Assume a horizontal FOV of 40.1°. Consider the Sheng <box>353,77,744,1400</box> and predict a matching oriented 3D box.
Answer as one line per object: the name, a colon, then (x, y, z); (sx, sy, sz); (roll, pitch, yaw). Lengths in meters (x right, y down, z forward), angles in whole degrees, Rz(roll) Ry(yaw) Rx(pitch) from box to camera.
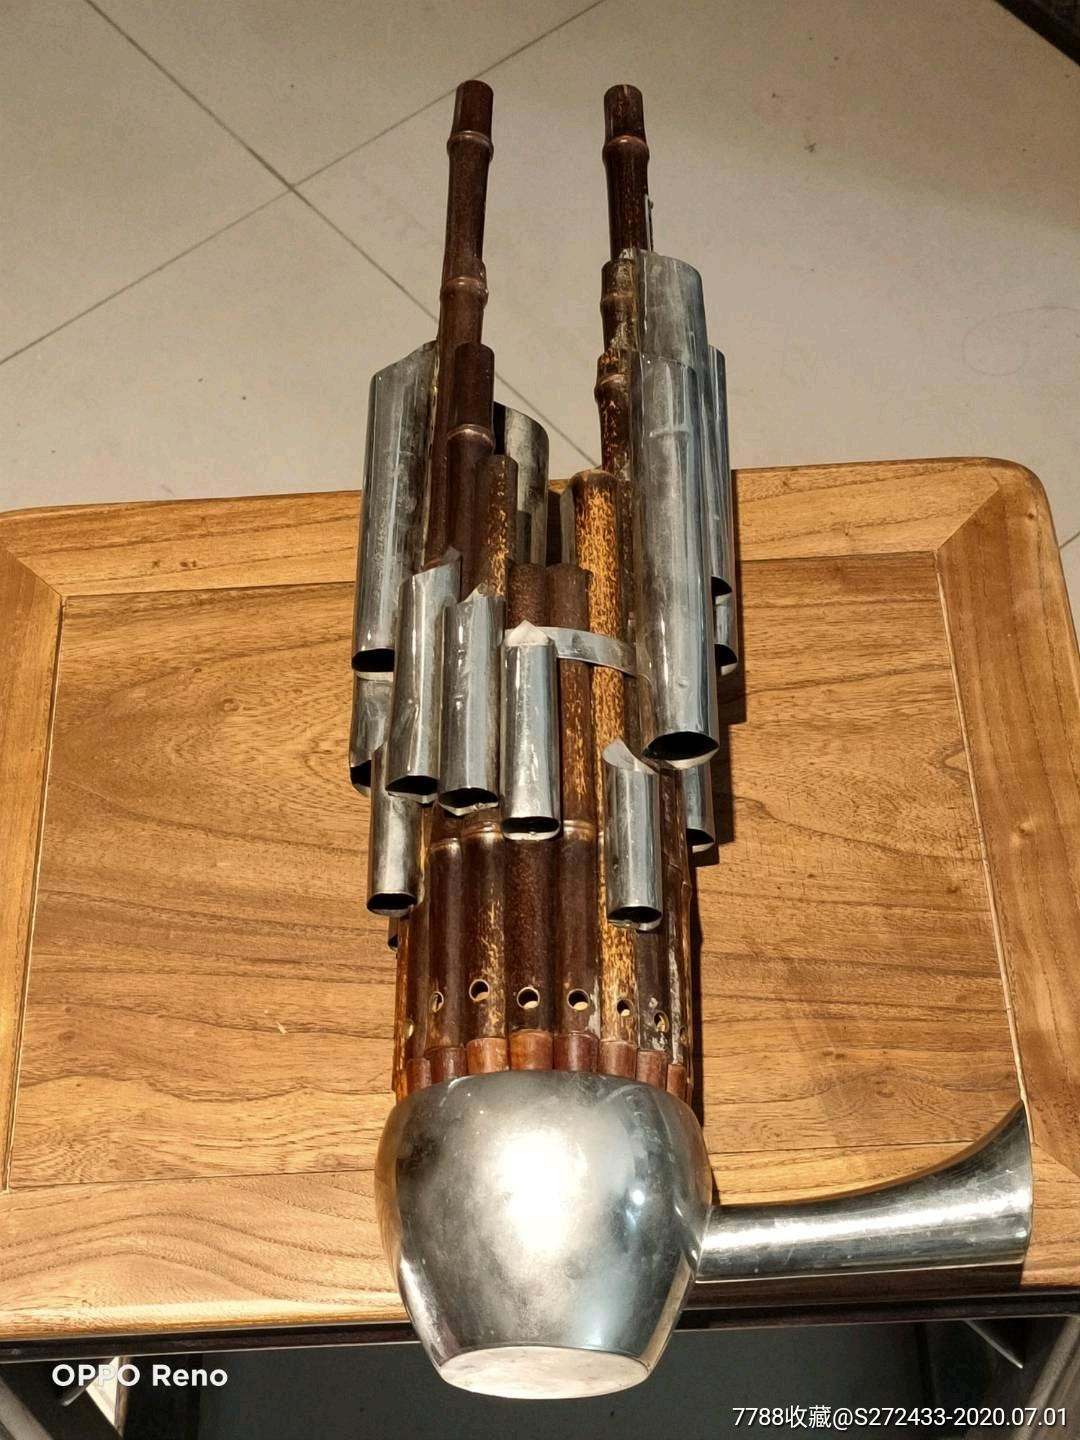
Sheng: (0.002, -0.005, 0.694); (0.206, 0.580, 0.223); (0, -25, 3)
